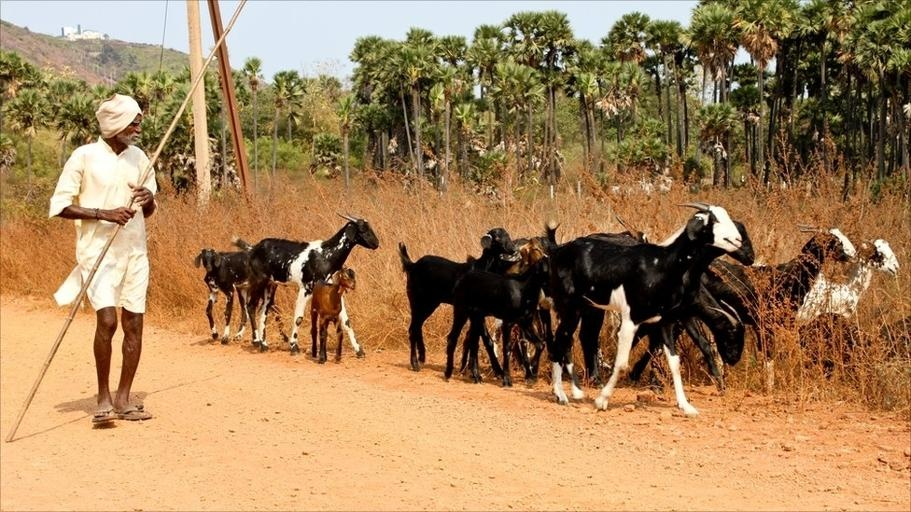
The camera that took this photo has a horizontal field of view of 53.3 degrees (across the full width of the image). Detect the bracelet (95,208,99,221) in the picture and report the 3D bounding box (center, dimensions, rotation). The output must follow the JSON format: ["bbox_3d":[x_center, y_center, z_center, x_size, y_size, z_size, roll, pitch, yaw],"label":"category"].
[{"bbox_3d":[-5.949,-0.706,15.204,0.046,0.125,0.138,-9,0,-13],"label":"bracelet"}]
